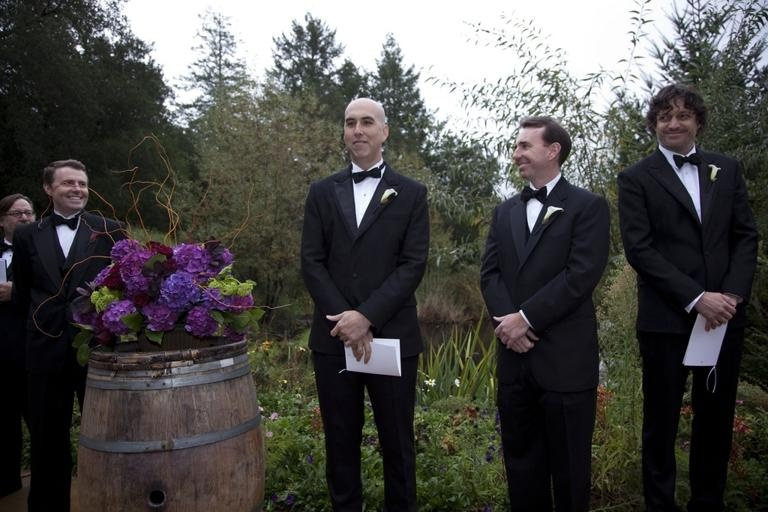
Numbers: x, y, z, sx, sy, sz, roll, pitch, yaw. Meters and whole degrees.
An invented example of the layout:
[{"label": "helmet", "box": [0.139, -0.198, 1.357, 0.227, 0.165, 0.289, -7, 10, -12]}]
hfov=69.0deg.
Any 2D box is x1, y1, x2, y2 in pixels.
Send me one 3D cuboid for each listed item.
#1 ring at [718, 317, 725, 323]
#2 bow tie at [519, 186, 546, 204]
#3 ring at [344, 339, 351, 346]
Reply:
[{"label": "ring", "box": [2.726, 0.525, 4.495, 0.042, 0.038, 0.015, 0, 2, -4]}, {"label": "bow tie", "box": [1.219, -0.493, 4.543, 0.150, 0.110, 0.039, 1, -3, 22]}, {"label": "ring", "box": [-0.279, 0.670, 4.324, 0.049, 0.045, 0.023, 0, 2, 3]}]
